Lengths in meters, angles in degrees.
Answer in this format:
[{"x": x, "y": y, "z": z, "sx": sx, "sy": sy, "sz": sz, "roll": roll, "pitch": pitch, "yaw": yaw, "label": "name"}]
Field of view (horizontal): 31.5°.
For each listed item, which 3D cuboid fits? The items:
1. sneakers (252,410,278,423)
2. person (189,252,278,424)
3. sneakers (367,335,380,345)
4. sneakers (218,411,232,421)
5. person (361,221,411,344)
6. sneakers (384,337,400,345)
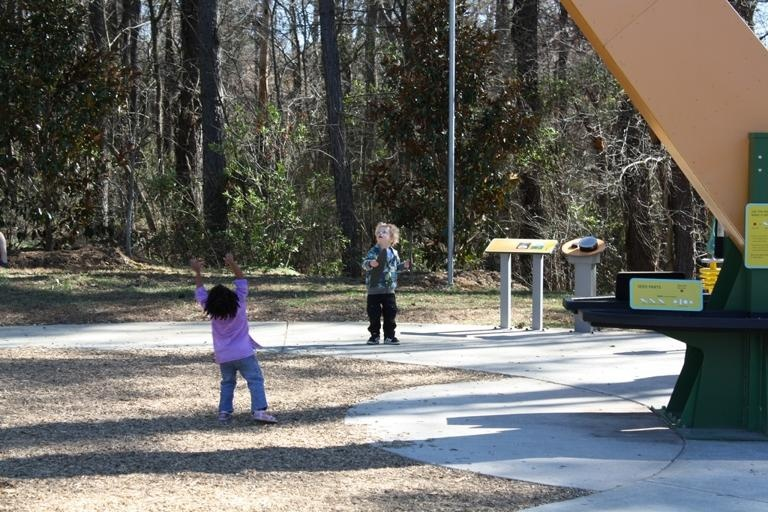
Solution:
[{"x": -1.705, "y": 2.302, "z": 19.699, "sx": 0.330, "sy": 0.142, "sz": 0.157, "roll": 2, "pitch": 5, "yaw": -1, "label": "sneakers"}, {"x": -2.159, "y": 1.187, "z": 19.860, "sx": 1.112, "sy": 2.442, "sz": 0.621, "roll": -2, "pitch": 1, "yaw": -5, "label": "person"}, {"x": -0.162, "y": 1.419, "z": 23.131, "sx": 0.096, "sy": 0.113, "sz": 0.264, "roll": -3, "pitch": -8, "yaw": 24, "label": "sneakers"}, {"x": -2.287, "y": 2.299, "z": 19.726, "sx": 0.117, "sy": 0.101, "sz": 0.238, "roll": 1, "pitch": 4, "yaw": -3, "label": "sneakers"}, {"x": 0.027, "y": 0.455, "z": 23.364, "sx": 0.658, "sy": 2.044, "sz": 1.473, "roll": -2, "pitch": 1, "yaw": 1, "label": "person"}, {"x": 0.151, "y": 1.433, "z": 23.173, "sx": 0.237, "sy": 0.117, "sz": 0.111, "roll": -2, "pitch": 4, "yaw": 9, "label": "sneakers"}]
